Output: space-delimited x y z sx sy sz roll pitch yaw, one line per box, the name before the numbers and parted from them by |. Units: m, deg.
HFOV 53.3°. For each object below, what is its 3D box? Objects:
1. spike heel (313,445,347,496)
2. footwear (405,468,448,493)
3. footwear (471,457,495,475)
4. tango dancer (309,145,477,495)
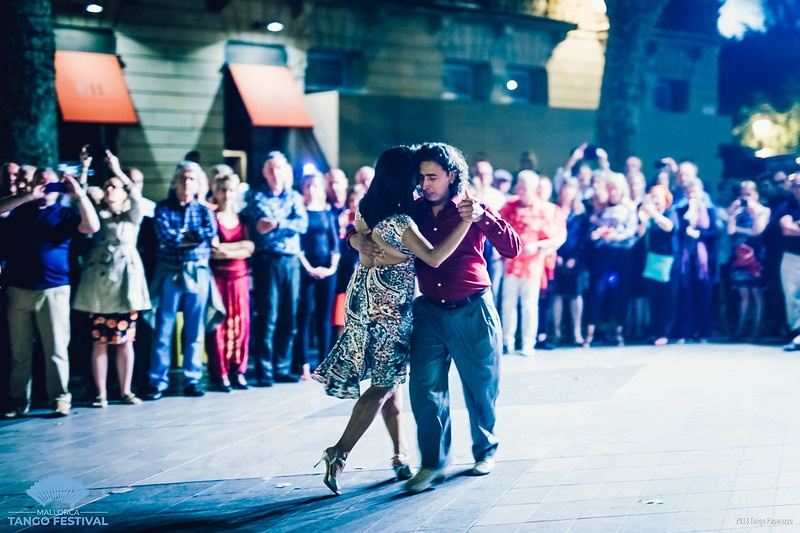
spike heel | -0.603 1.758 7.064 0.231 0.520 0.187 -1 5 -16
footwear | 0.220 1.908 7.231 0.403 0.152 0.143 -10 -4 -36
footwear | 0.755 1.843 7.346 0.098 0.087 0.228 -13 -16 25
tango dancer | -0.182 0.453 7.164 1.247 3.026 0.523 -6 13 -21
